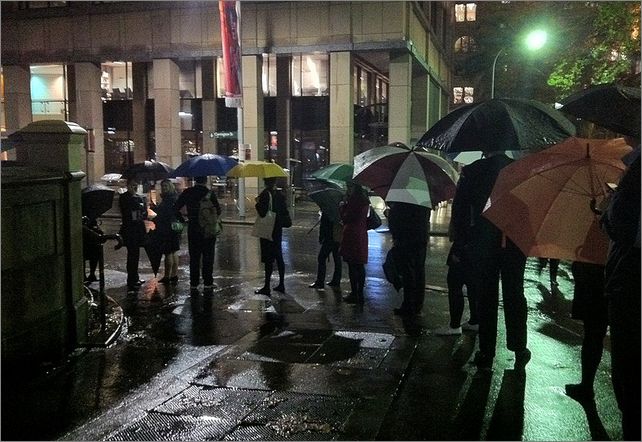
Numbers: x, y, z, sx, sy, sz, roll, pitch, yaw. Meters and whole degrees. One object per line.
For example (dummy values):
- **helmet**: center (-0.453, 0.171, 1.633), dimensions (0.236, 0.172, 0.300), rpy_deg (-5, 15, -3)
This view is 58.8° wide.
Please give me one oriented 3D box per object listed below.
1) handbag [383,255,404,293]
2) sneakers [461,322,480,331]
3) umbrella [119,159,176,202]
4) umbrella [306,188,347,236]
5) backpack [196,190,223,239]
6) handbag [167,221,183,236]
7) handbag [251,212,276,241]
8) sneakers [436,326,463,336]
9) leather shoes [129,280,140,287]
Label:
- **handbag**: center (1.192, 0.862, 9.585), dimensions (0.150, 0.571, 0.401), rpy_deg (-15, 18, -34)
- **sneakers**: center (2.306, 1.646, 8.878), dimensions (0.316, 0.125, 0.146), rpy_deg (5, 10, 44)
- **umbrella**: center (-3.784, -0.978, 12.991), dimensions (1.207, 0.810, 1.211), rpy_deg (-2, 2, -1)
- **umbrella**: center (0.086, -0.286, 11.279), dimensions (0.716, 0.663, 0.718), rpy_deg (-6, 6, -5)
- **backpack**: center (-2.272, -0.184, 11.747), dimensions (0.439, 0.901, 0.513), rpy_deg (-6, 19, 9)
- **handbag**: center (-3.078, 0.146, 12.127), dimensions (0.230, 0.201, 0.266), rpy_deg (2, 5, -1)
- **handbag**: center (-1.121, 0.089, 11.093), dimensions (0.433, 0.551, 0.280), rpy_deg (-1, 6, -1)
- **sneakers**: center (1.928, 1.675, 8.633), dimensions (0.386, 0.153, 0.139), rpy_deg (2, 1, 14)
- **leather shoes**: center (-3.908, 1.302, 11.939), dimensions (0.128, 0.095, 0.125), rpy_deg (2, -5, 1)
